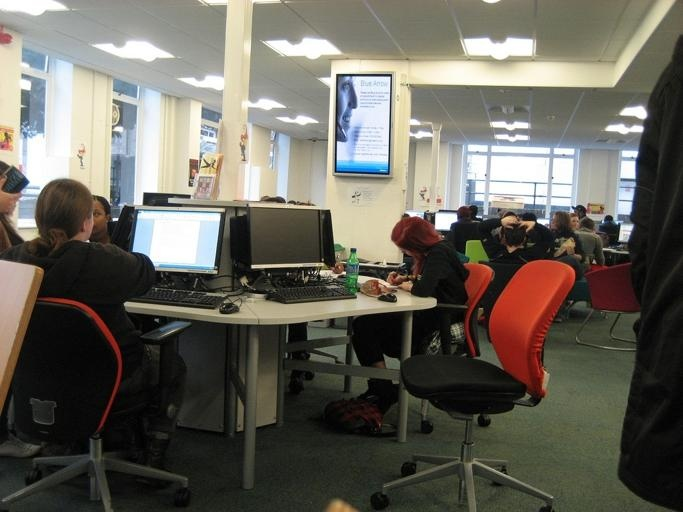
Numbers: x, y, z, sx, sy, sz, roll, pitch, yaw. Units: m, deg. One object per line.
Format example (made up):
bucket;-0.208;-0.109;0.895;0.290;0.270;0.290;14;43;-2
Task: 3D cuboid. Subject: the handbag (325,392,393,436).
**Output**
handbag;0.084;1.029;3.500;0.303;0.113;0.234;2;7;-2

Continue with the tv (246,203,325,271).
tv;-0.379;-0.114;3.398;0.038;0.319;0.433;-6;-6;43

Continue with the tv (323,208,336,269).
tv;-0.099;-0.114;3.744;0.093;0.407;0.222;2;7;1

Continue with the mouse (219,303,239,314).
mouse;-0.583;0.268;2.787;0.099;0.045;0.111;0;7;-20

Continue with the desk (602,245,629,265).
desk;4.537;-0.006;9.020;0.322;0.315;0.327;0;5;43

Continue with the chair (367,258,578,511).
chair;0.687;0.552;3.306;1.171;1.709;1.175;1;1;-12

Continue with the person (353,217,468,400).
person;0.454;0.384;3.690;0.705;1.279;0.532;11;-11;6
